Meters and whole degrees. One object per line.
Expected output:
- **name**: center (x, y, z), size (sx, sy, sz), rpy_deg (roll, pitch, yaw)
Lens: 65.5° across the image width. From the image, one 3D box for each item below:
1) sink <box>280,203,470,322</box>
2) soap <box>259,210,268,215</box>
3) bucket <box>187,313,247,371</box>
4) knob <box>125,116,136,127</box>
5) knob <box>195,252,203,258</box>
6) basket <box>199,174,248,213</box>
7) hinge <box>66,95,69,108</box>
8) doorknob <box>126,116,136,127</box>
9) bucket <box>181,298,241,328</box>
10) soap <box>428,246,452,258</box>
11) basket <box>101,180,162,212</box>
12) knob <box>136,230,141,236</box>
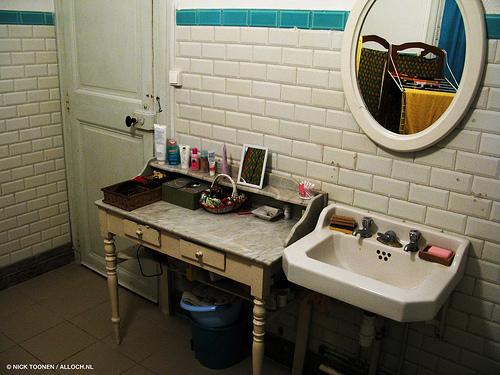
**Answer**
- **sink**: center (0.678, 0.411, 2.075), size (0.823, 0.325, 0.655), rpy_deg (22, 38, 34)
- **soap**: center (0.088, 0.164, 2.585), size (0.028, 0.031, 0.051), rpy_deg (-14, 8, -37)
- **bucket**: center (-0.230, 1.069, 2.823), size (0.365, 0.289, 0.359), rpy_deg (0, 15, 0)
- **knob**: center (-0.931, -0.512, 3.036), size (0.071, 0.055, 0.053), rpy_deg (-2, -14, -13)
- **knob**: center (-0.305, 0.407, 2.324), size (0.038, 0.052, 0.034), rpy_deg (-7, 26, -23)
- **basket**: center (-0.175, 0.026, 2.674), size (0.311, 0.256, 0.328), rpy_deg (8, 19, 26)
- **hinge**: center (-1.617, -0.760, 3.448), size (0.023, 0.109, 0.021), rpy_deg (7, 23, 9)
- **doorknob**: center (-0.931, -0.517, 3.036), size (0.070, 0.054, 0.071), rpy_deg (1, -17, -15)
- **bucket**: center (-0.257, 0.909, 2.793), size (0.484, 0.201, 0.425), rpy_deg (-11, -17, 17)
- **soap**: center (1.010, 0.344, 2.073), size (0.072, 0.018, 0.051), rpy_deg (17, 27, 38)
- **basket**: center (-0.860, 0.013, 2.701), size (0.273, 0.087, 0.208), rpy_deg (20, 29, 41)
- **knob**: center (-0.729, 0.299, 2.542), size (0.025, 0.027, 0.019), rpy_deg (-10, -1, 7)
